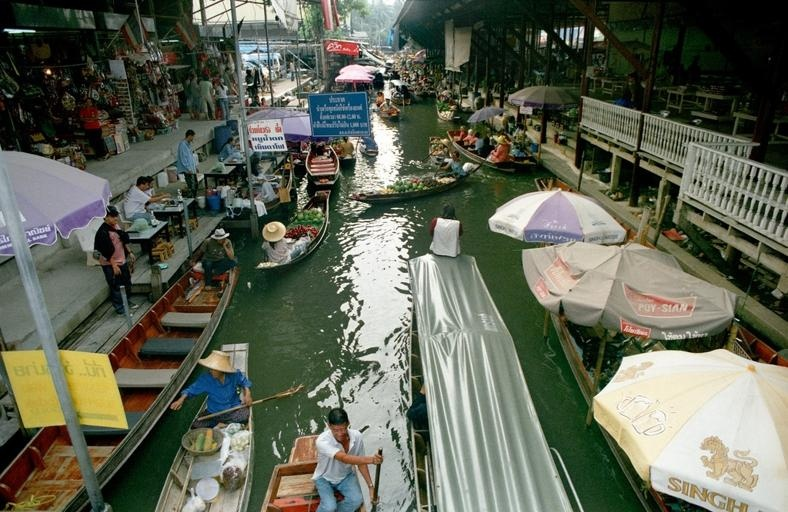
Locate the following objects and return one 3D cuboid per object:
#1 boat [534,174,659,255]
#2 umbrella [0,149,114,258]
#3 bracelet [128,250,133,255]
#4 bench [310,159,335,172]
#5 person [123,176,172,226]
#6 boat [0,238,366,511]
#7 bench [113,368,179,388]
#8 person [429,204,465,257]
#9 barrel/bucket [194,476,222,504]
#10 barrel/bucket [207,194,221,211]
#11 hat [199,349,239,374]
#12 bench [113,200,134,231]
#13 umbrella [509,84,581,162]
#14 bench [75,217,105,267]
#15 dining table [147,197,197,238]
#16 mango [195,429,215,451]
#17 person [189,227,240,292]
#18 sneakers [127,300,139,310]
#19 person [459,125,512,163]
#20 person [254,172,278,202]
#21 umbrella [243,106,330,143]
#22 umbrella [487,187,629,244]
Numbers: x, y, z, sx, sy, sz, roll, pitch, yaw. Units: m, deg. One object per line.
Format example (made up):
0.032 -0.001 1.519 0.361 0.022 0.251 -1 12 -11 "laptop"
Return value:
6.899 -1.668 19.820 1.456 0.985 6.651 -11 37 -9 "boat"
-7.450 -1.310 12.273 2.229 0.814 2.311 18 36 14 "umbrella"
-7.653 -0.092 16.381 0.124 0.151 0.375 -1 9 -16 "bracelet"
-3.335 -4.229 26.362 1.115 0.326 1.183 -7 25 -5 "bench"
-8.219 -1.768 18.684 1.384 1.886 0.840 -15 54 -35 "person"
-6.358 3.197 15.042 2.061 1.360 9.448 8 37 -2 "boat"
-6.071 2.985 13.748 1.084 0.155 0.608 2 21 -17 "bench"
1.549 -0.708 15.969 0.903 1.452 0.750 3 23 3 "person"
-3.972 4.970 11.991 0.474 0.307 0.422 9 28 27 "barrel/bucket"
-6.858 -2.045 21.530 0.359 0.417 0.365 0 43 0 "barrel/bucket"
-3.982 2.461 13.102 0.680 0.268 0.725 23 1 4 "hat"
-8.314 -1.214 17.395 0.599 0.947 0.652 2 54 -8 "bench"
7.129 -6.225 26.840 3.451 3.592 3.458 21 30 37 "umbrella"
-8.240 -0.370 15.327 0.481 1.316 1.248 0 18 -23 "bench"
-7.310 -1.337 19.218 1.547 0.810 1.095 5 20 32 "dining table"
-4.191 4.102 12.577 0.240 0.126 0.448 6 32 -20 "mango"
-5.562 0.070 17.584 1.135 1.970 0.953 10 6 11 "person"
-7.488 1.428 16.238 0.374 0.161 0.139 -1 20 -9 "sneakers"
4.623 -5.591 28.821 1.231 0.682 3.777 -27 36 -7 "person"
-5.392 -2.867 24.054 1.023 0.823 1.574 -10 25 -11 "person"
-4.654 -5.723 24.435 1.724 1.367 3.091 0 25 10 "umbrella"
4.537 -1.062 16.117 2.272 0.854 2.231 -16 25 -42 "umbrella"
